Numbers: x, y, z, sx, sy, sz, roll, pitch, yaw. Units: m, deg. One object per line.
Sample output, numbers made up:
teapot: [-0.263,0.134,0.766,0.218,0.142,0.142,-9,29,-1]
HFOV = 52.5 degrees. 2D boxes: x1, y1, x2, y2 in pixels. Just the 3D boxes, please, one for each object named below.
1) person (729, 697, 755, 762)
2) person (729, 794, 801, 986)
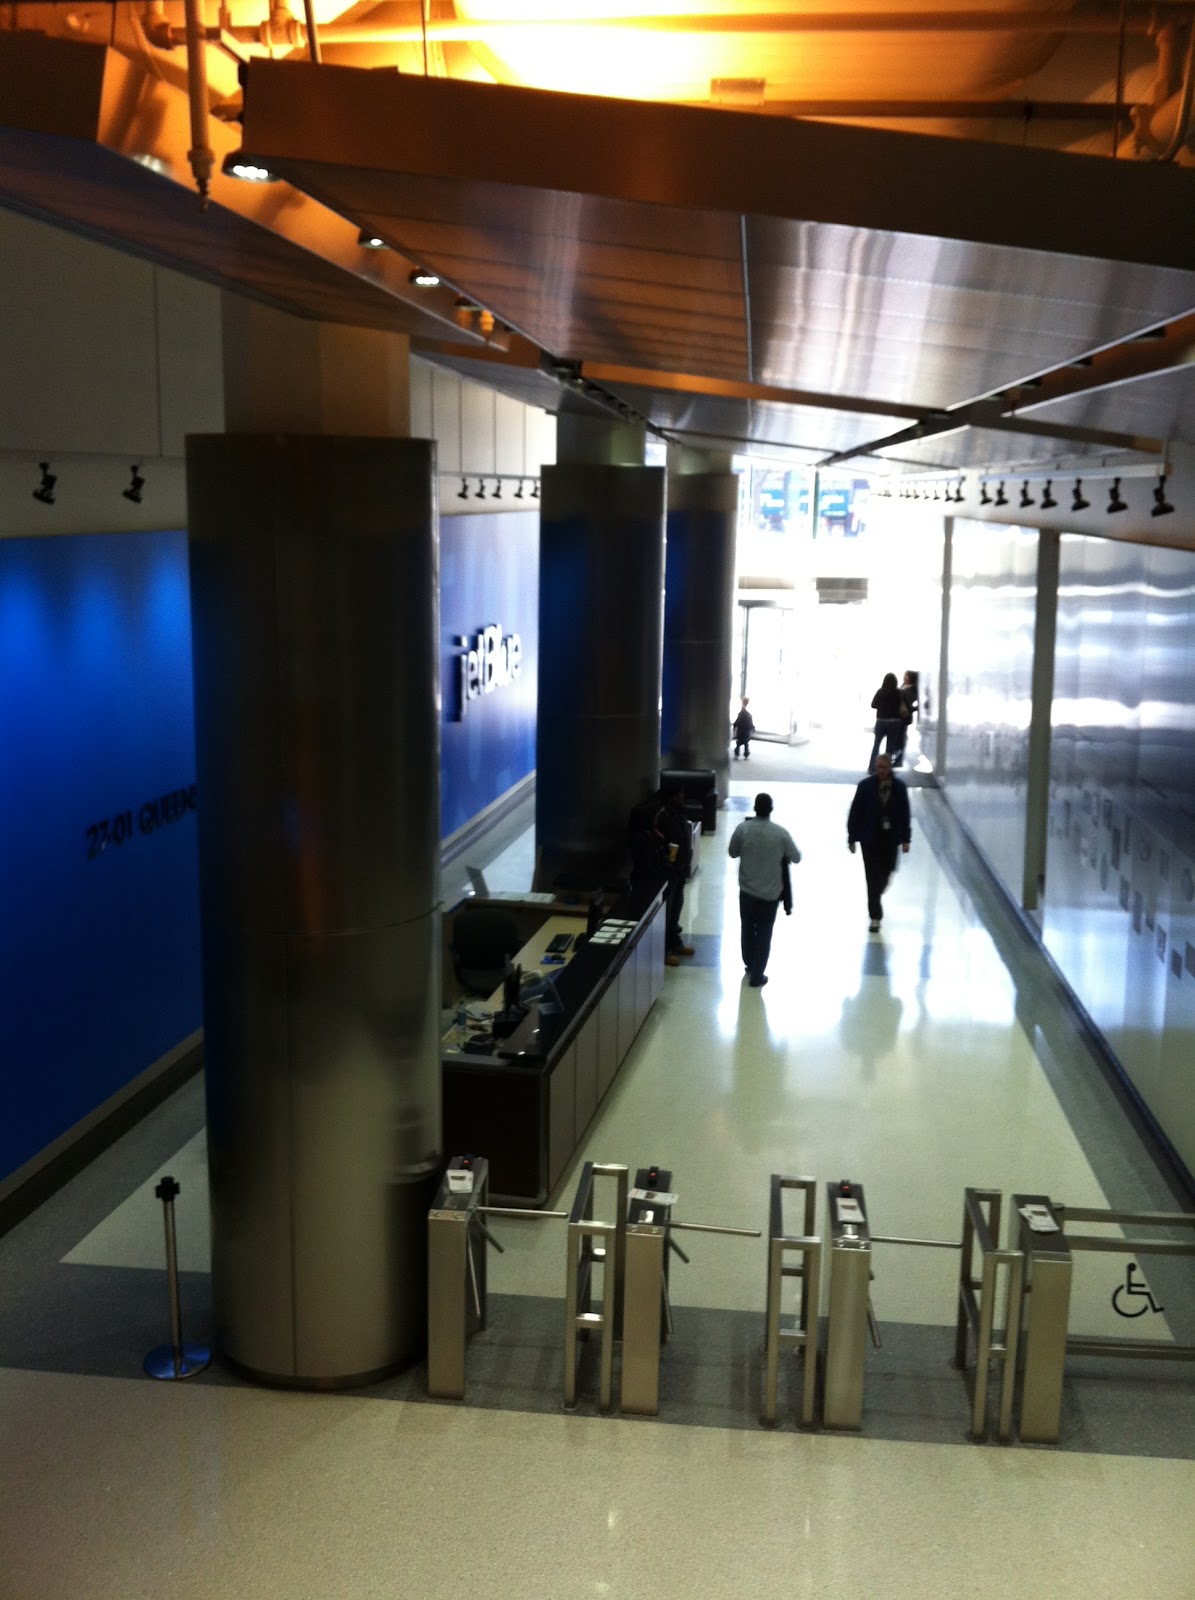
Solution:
person: [2.871,-1.406,24.032,0.349,1.177,1.413,1,4,7]
person: [1.485,0.747,10.815,0.557,1.789,0.539,2,25,6]
